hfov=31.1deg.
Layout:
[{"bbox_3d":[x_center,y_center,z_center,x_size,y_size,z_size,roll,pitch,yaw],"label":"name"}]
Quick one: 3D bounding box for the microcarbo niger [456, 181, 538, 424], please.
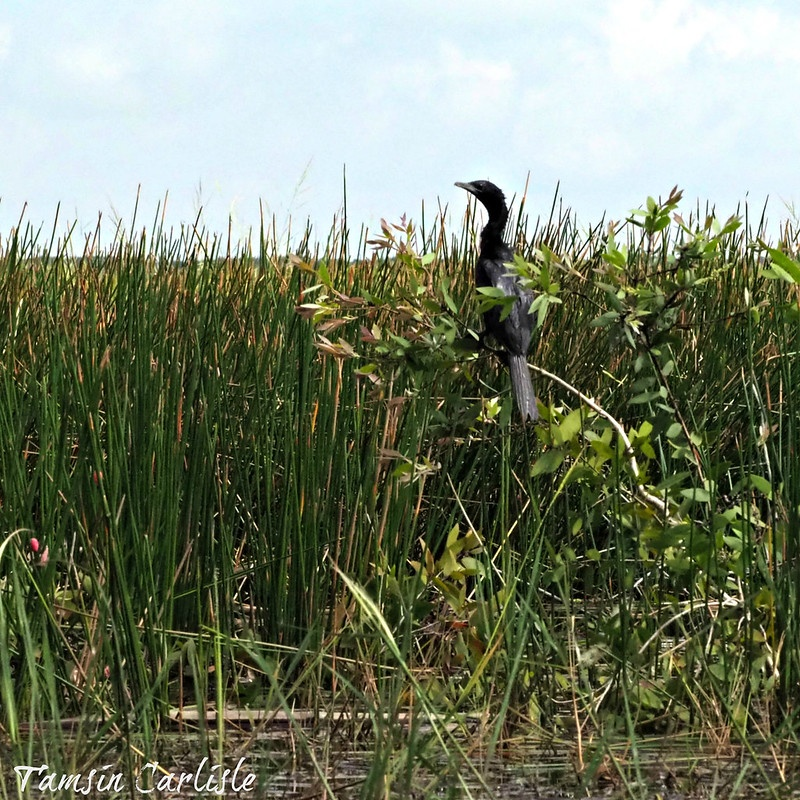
[{"bbox_3d":[0.228,-0.247,3.388,0.197,0.589,0.480,2,-1,2],"label":"microcarbo niger"}]
